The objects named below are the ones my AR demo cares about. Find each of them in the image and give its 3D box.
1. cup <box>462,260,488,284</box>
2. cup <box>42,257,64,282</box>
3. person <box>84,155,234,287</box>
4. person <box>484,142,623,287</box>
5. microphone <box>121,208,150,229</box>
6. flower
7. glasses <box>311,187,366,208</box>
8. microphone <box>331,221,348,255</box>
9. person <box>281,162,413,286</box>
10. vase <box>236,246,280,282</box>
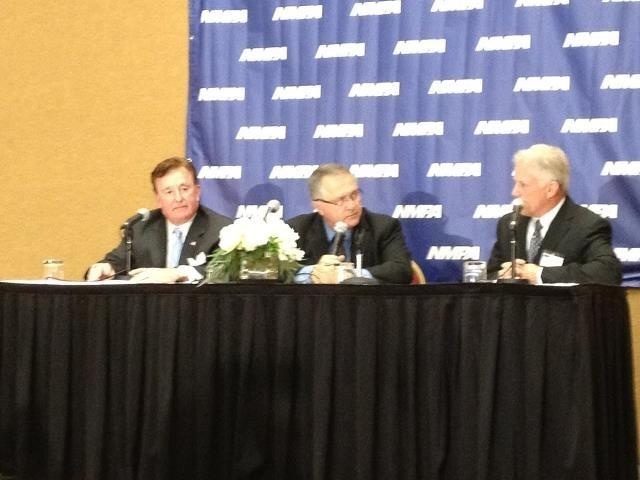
[{"bbox_3d":[0.827,0.177,4.045,0.141,0.142,0.136,1,-6,0],"label":"cup"},{"bbox_3d":[-1.515,0.176,4.418,0.136,0.124,0.126,0,-1,0],"label":"cup"},{"bbox_3d":[-1.065,-0.125,5.288,0.859,1.023,0.620,-2,-16,8],"label":"person"},{"bbox_3d":[1.543,-0.162,4.964,0.611,1.252,0.772,14,-17,-32],"label":"person"},{"bbox_3d":[-1.224,-0.141,5.156,0.086,0.078,0.239,18,47,38],"label":"microphone"},{"bbox_3d":[-0.327,0.055,4.064,0.421,0.307,0.390,4,-9,-18],"label":"flower"},{"bbox_3d":[0.112,-0.264,5.179,0.322,0.124,0.167,-4,-11,-2],"label":"glasses"},{"bbox_3d":[0.108,-0.036,4.169,0.077,0.217,0.057,12,-20,1],"label":"microphone"},{"bbox_3d":[0.131,-0.028,5.163,0.919,0.860,1.171,-6,7,-10],"label":"person"},{"bbox_3d":[-0.306,0.136,4.023,0.222,0.184,0.195,-2,-11,-13],"label":"vase"}]
